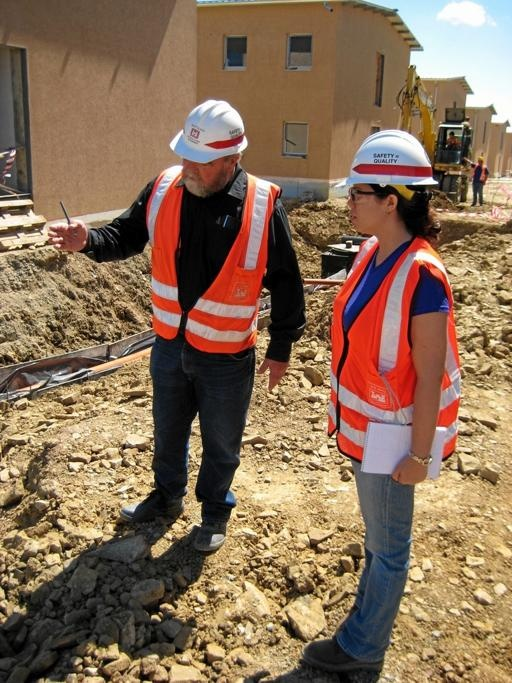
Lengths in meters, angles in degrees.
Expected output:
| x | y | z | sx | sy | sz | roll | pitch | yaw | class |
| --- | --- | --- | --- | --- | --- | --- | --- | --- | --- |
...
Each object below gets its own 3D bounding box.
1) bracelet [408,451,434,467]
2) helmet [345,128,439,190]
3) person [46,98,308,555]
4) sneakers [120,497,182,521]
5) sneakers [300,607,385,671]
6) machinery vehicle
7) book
| x | y | z | sx | sy | sz | roll | pitch | yaw | class |
| --- | --- | --- | --- | --- | --- | --- | --- | --- | --- |
| 0.457 | 0.313 | 1.578 | 0.052 | 0.022 | 0.050 | 9 | 4 | -9 | bracelet |
| 0.386 | -0.520 | 1.647 | 0.239 | 0.119 | 0.167 | 8 | 25 | 12 | helmet |
| -0.289 | -0.057 | 2.483 | 0.899 | 1.882 | 0.436 | 9 | 12 | 16 | person |
| -0.466 | 0.746 | 2.650 | 0.293 | 0.120 | 0.110 | 3 | 6 | -16 | sneakers |
| 0.263 | 1.020 | 1.970 | 0.313 | 0.198 | 0.126 | 3 | -6 | 3 | sneakers |
| 5.033 | -6.194 | 17.489 | 1.506 | 2.764 | 4.372 | 24 | 20 | 32 | machinery vehicle |
| 0.385 | 0.305 | 1.546 | 0.215 | 0.141 | 0.053 | 6 | 7 | 7 | book |
